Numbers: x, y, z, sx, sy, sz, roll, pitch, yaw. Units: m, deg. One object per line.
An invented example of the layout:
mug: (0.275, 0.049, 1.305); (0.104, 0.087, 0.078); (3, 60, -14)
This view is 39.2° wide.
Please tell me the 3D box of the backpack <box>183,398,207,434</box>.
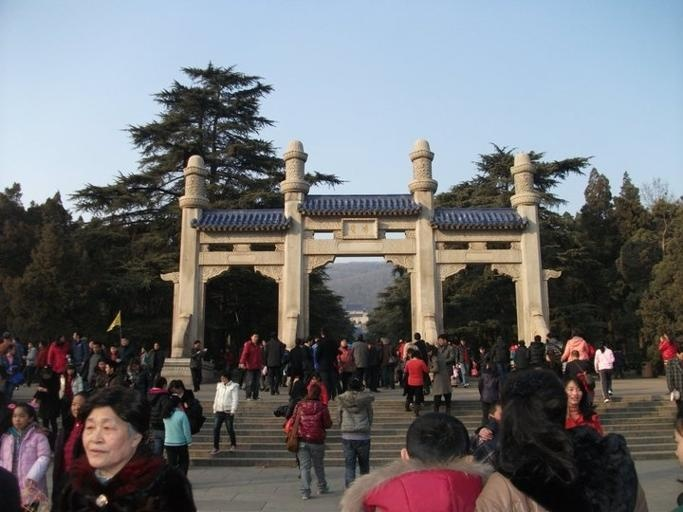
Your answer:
backpack: (-3.068, 3.326, 19.974); (0.438, 0.703, 0.296); (4, -9, -34)

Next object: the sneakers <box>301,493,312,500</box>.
sneakers: (-0.700, 4.878, 19.549); (0.191, 0.131, 0.243); (-1, -7, -2)

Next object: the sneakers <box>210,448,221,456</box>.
sneakers: (-2.973, 4.616, 22.622); (0.128, 0.142, 0.342); (-1, -19, 6)

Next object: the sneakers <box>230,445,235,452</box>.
sneakers: (-2.561, 4.536, 22.743); (0.156, 0.150, 0.100); (-1, 3, -1)

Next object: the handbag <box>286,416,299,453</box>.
handbag: (-1.001, 3.639, 19.721); (0.310, 0.769, 0.658); (4, -24, -7)
